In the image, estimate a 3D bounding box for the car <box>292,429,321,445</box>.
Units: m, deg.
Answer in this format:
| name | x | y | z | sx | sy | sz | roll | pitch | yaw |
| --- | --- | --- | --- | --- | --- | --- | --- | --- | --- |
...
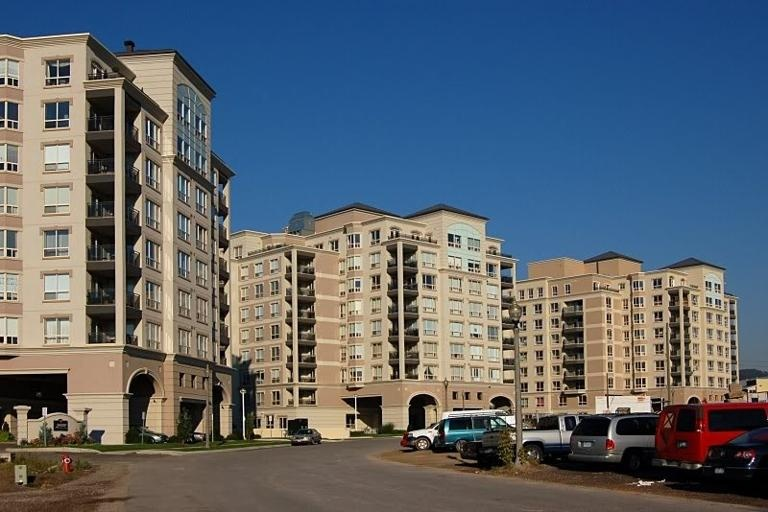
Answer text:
| name | x | y | z | sx | sy | sz | roll | pitch | yaw |
| --- | --- | --- | --- | --- | --- | --- | --- | --- | --- |
| car | -7.221 | 16.706 | 105.504 | 1.993 | 1.779 | 3.508 | -6 | -16 | 22 |
